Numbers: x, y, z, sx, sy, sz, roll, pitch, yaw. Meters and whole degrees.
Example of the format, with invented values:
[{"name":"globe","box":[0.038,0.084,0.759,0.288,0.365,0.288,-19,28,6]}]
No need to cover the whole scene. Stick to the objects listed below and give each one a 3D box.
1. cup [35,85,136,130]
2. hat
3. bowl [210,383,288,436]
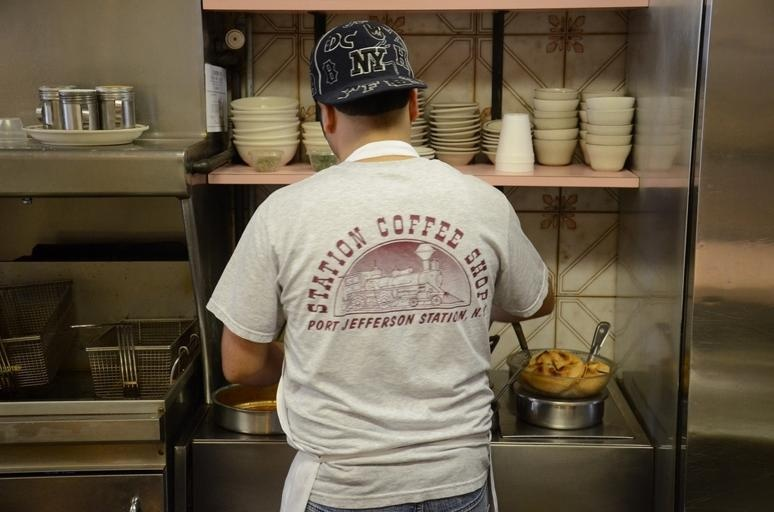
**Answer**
[{"name":"cup","box":[-1.141,-0.537,2.677,0.196,0.132,0.288,5,9,35]},{"name":"hat","box":[-0.069,-0.561,2.053,0.306,0.214,0.407,-9,18,-11]},{"name":"bowl","box":[-0.548,0.606,2.793,0.297,0.102,0.287,0,4,0]}]
